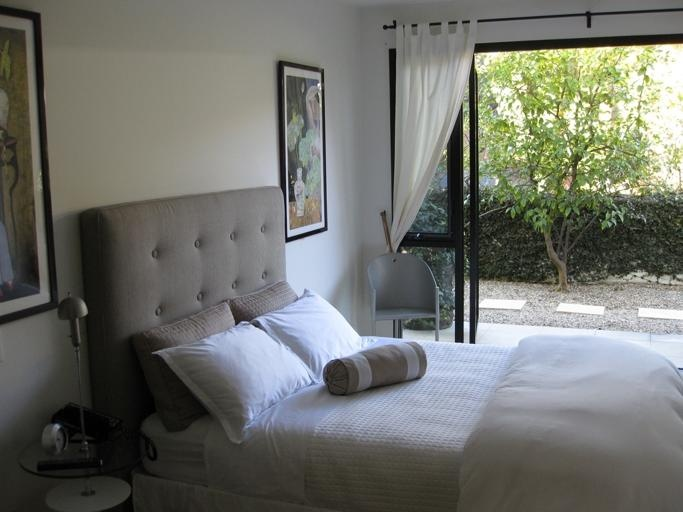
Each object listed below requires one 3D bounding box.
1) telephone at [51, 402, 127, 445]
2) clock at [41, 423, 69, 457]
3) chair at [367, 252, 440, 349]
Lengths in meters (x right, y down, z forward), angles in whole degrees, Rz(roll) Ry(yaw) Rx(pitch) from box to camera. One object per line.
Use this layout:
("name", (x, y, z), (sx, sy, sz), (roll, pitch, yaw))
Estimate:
("telephone", (-1.056, 0.688, 2.226), (0.202, 0.083, 0.166), (24, 7, -5))
("clock", (-1.118, 0.715, 2.113), (0.094, 0.112, 0.073), (-5, 11, -33))
("chair", (0.471, 0.464, 4.459), (0.586, 0.945, 0.647), (-3, 2, -15))
